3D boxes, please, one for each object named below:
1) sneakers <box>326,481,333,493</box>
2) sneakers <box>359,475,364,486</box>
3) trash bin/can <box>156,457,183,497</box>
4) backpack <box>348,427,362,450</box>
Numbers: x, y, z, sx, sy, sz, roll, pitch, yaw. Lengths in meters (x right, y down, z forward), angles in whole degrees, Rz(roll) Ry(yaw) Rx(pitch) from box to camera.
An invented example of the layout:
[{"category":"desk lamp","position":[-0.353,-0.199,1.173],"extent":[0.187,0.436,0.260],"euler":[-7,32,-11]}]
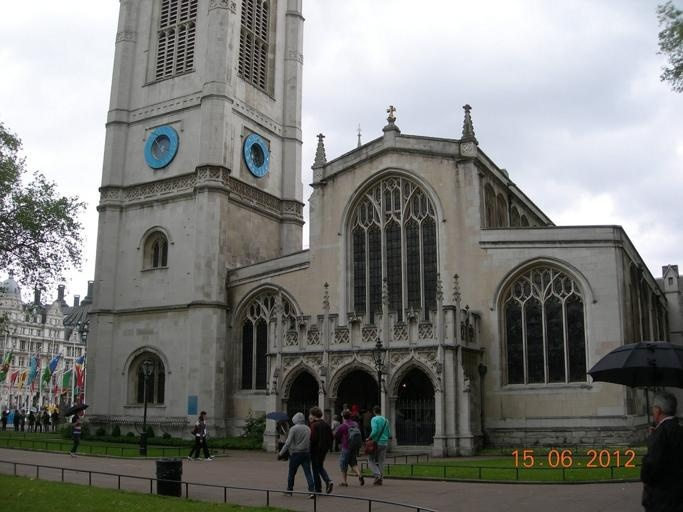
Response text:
[{"category":"sneakers","position":[-0.392,7.161,24.646],"extent":[0.187,0.213,0.498],"euler":[4,-54,-6]},{"category":"sneakers","position":[0.648,7.410,26.315],"extent":[0.150,0.445,0.187],"euler":[-5,24,0]},{"category":"trash bin/can","position":[-5.308,6.777,24.512],"extent":[0.785,1.129,0.936],"euler":[3,-16,-12]},{"category":"backpack","position":[0.394,6.108,26.741],"extent":[0.479,0.766,0.600],"euler":[-19,-26,39]}]
